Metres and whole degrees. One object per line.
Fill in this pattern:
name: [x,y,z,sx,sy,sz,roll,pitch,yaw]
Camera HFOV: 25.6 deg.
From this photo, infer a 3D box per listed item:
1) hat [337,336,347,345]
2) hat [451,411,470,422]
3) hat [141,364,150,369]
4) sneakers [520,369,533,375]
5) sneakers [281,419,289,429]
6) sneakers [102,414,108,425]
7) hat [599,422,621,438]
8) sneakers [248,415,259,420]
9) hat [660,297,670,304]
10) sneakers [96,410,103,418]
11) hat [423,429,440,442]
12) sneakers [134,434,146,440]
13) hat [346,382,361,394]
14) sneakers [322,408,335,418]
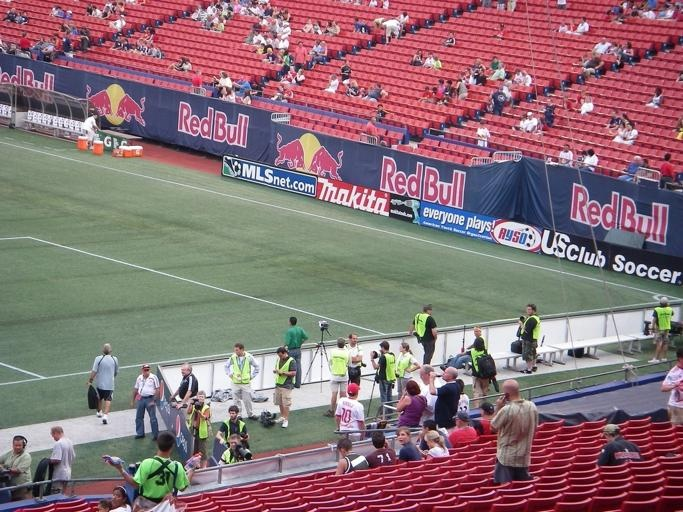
hat: [-0.044,2.816,49.101,0.210,0.228,0.347,5,-6,-1]
hat: [3.455,4.676,43.707,0.347,0.171,0.254,13,14,43]
hat: [-6.338,3.548,48.155,0.340,0.152,0.488,3,1,-14]
sneakers: [6.450,4.060,52.639,0.420,0.162,0.148,8,12,27]
sneakers: [-1.887,5.439,48.564,0.261,0.242,0.586,1,6,0]
sneakers: [-7.660,5.252,48.169,0.129,0.233,0.357,7,12,-4]
hat: [7.506,4.866,41.755,0.412,0.345,0.365,-10,14,-18]
sneakers: [-2.932,5.281,49.059,0.289,0.128,0.119,-11,-45,34]
hat: [11.502,1.593,53.614,0.286,0.367,0.387,0,-1,9]
sneakers: [-7.905,5.078,48.505,0.139,0.233,0.363,8,12,12]
hat: [2.538,5.157,42.948,0.408,0.304,0.292,0,0,30]
sneakers: [-6.460,5.729,47.578,0.329,0.130,0.108,1,16,-12]
hat: [0.403,4.104,46.232,0.421,0.299,0.652,9,-8,10]
sneakers: [-0.460,5.203,49.410,0.337,0.155,0.195,5,7,40]
